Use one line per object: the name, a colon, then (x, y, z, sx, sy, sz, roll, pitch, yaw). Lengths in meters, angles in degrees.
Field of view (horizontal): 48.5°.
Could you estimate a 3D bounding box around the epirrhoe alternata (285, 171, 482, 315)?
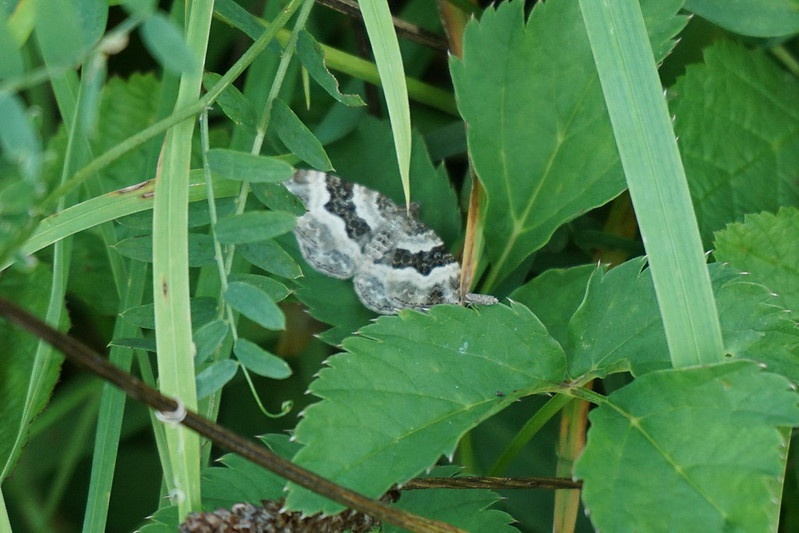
epirrhoe alternata: (-0.070, -0.076, 2.331, 0.451, 0.279, 0.329, 0, 39, 7)
